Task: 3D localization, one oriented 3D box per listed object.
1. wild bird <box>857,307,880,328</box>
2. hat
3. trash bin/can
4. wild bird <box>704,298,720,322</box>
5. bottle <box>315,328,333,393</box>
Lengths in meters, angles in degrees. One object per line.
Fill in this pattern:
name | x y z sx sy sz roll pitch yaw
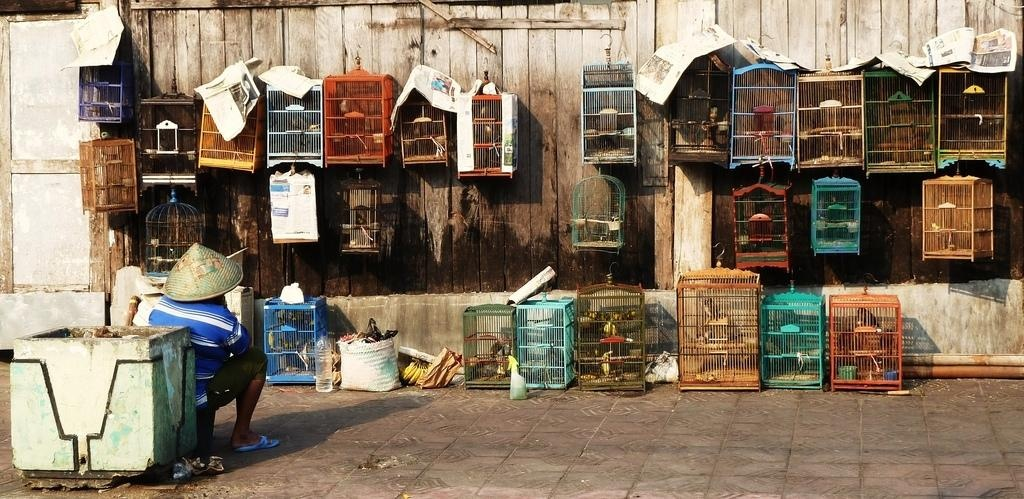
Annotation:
wild bird | 5.514 1.063 21.080 0.298 0.302 0.167 -4 0 19
hat | -4.523 0.377 19.692 0.979 0.432 0.902 -9 12 13
trash bin/can | -5.762 2.224 19.845 2.631 1.912 2.374 0 -1 -8
wild bird | 3.129 0.937 21.283 0.249 0.351 0.079 -5 0 3
bottle | -3.068 1.859 21.930 0.298 0.904 0.423 -5 0 -8
